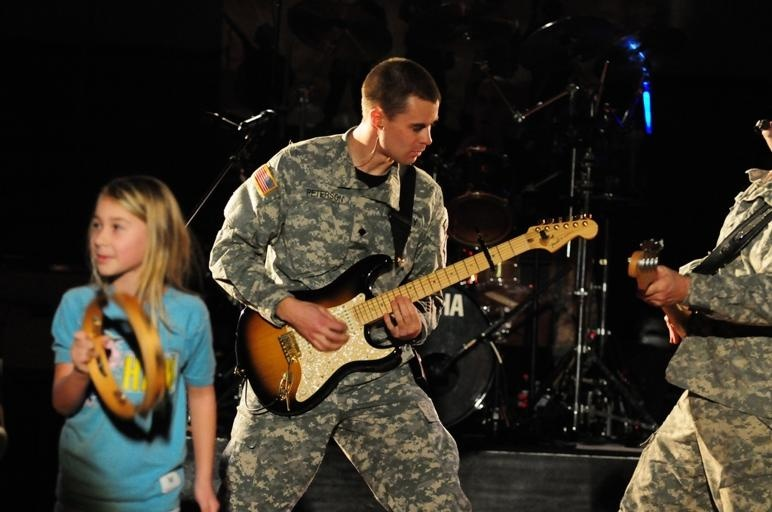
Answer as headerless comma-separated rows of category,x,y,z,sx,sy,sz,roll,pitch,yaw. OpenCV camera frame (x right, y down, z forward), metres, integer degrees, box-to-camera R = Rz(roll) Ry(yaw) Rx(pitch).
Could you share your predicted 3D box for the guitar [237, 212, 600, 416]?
guitar,0.218,0.373,4.955,1.702,0.520,0.231,-20,2,-9
